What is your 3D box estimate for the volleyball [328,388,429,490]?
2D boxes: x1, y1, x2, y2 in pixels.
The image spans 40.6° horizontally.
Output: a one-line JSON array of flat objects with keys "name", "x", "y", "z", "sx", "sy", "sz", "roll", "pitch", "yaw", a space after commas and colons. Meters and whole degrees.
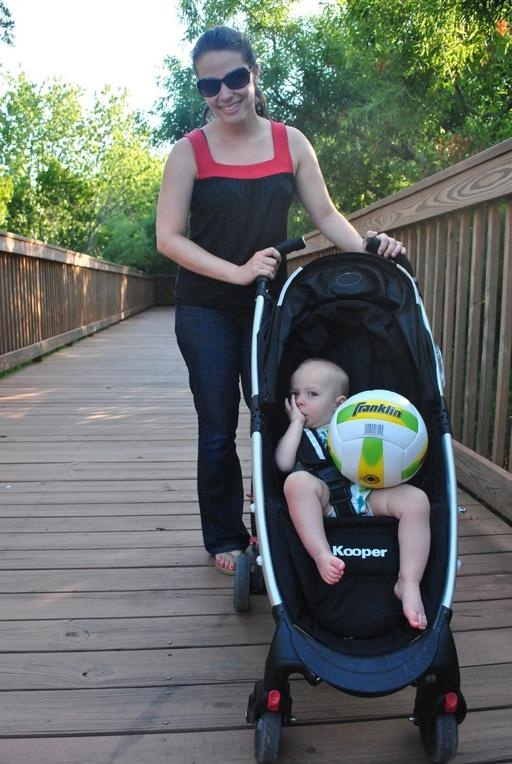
[{"name": "volleyball", "x": 0.290, "y": 0.135, "z": 1.660, "sx": 0.251, "sy": 0.256, "sz": 0.231, "roll": 3, "pitch": 24, "yaw": 7}]

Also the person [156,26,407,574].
[{"name": "person", "x": 0.042, "y": -0.095, "z": 2.175, "sx": 0.654, "sy": 1.664, "sz": 0.604, "roll": -2, "pitch": 5, "yaw": -13}]

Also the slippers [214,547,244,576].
[{"name": "slippers", "x": -0.093, "y": 0.555, "z": 2.147, "sx": 0.064, "sy": 0.058, "sz": 0.153, "roll": 1, "pitch": 0, "yaw": 0}]
